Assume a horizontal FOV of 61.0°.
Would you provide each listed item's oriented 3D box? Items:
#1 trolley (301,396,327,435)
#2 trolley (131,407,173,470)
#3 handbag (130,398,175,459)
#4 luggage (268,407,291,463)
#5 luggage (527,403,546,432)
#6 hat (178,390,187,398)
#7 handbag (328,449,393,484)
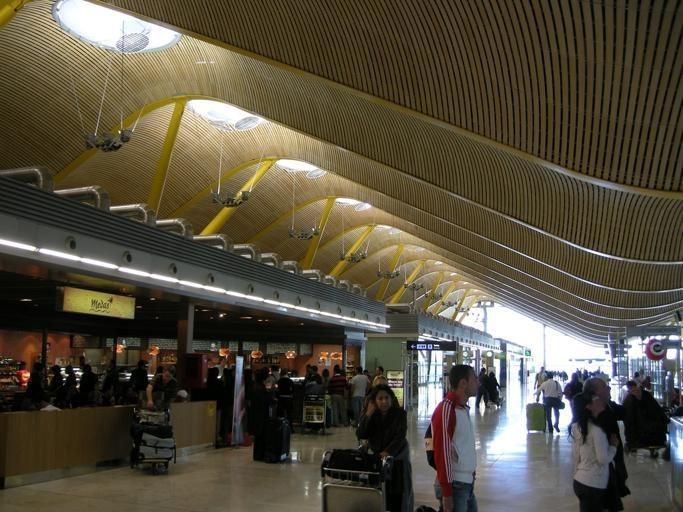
[{"bbox_3d":[-0.943,5.291,19.487,0.867,1.211,1.004,2,-8,3],"label":"trolley"},{"bbox_3d":[-4.079,4.144,12.663,0.743,1.031,0.935,18,-24,-41],"label":"trolley"},{"bbox_3d":[-4.103,3.983,12.830,1.068,1.233,0.890,-8,-10,23],"label":"handbag"},{"bbox_3d":[-1.503,4.357,13.768,0.531,1.025,0.599,-6,-13,28],"label":"luggage"},{"bbox_3d":[6.590,5.516,19.639,0.633,1.121,0.622,0,-25,10],"label":"luggage"},{"bbox_3d":[-3.948,3.457,14.471,0.149,0.193,0.399,-1,-14,17],"label":"hat"},{"bbox_3d":[0.205,2.772,7.609,0.604,0.526,0.294,1,-11,22],"label":"handbag"}]
